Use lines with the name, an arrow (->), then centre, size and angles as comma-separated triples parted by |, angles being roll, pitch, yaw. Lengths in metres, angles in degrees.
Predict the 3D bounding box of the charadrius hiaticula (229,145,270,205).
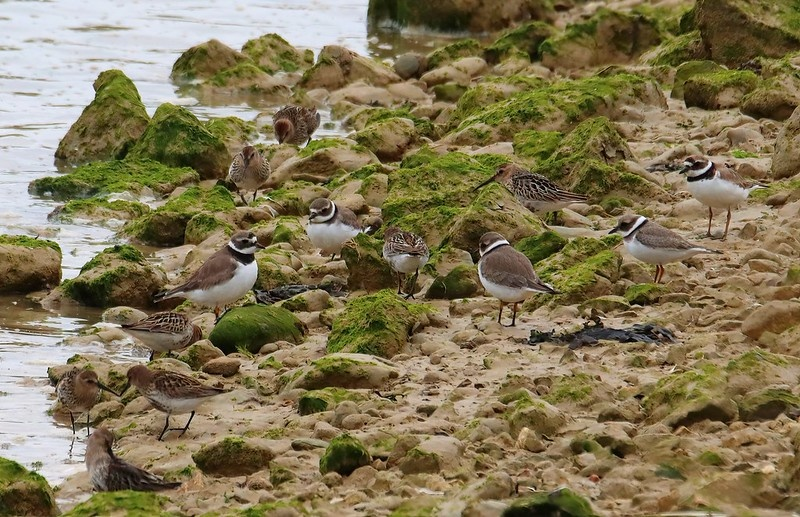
charadrius hiaticula -> -2.906, -1.634, 19.269 | 0.737, 1.063, 0.546 | 2, 30, -7

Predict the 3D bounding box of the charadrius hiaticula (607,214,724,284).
charadrius hiaticula -> 3.838, -0.258, 13.976 | 1.672, 0.941, 0.656 | 1, 2, 29

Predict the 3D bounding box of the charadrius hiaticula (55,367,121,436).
charadrius hiaticula -> -4.049, 1.710, 12.790 | 0.395, 0.653, 1.440 | -1, 23, -24

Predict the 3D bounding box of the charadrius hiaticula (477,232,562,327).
charadrius hiaticula -> 1.532, 0.267, 13.311 | 0.673, 1.128, 1.452 | -3, 6, -42

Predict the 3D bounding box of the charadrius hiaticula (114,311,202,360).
charadrius hiaticula -> -3.280, 1.063, 13.776 | 1.281, 0.665, 0.601 | 12, -16, -37

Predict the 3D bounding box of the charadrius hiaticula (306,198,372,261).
charadrius hiaticula -> -1.069, -0.387, 16.016 | 0.837, 1.086, 0.641 | 12, 30, 10
